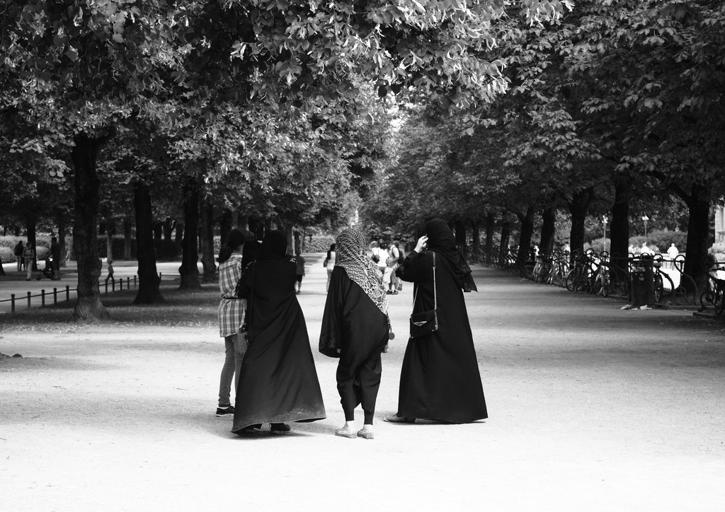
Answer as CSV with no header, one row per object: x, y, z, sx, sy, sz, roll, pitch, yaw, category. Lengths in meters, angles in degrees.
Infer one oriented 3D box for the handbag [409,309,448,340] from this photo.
0.794,0.797,10.211,0.327,0.242,0.106,-11,-15,34,handbag

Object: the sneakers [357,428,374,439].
0.049,1.917,9.431,0.078,0.092,0.216,2,-7,-33,sneakers

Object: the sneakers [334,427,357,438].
-0.162,1.906,9.471,0.193,0.085,0.108,3,-2,26,sneakers

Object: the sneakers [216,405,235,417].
-1.629,1.853,10.444,0.265,0.118,0.103,-3,7,-6,sneakers

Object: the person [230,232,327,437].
-0.898,0.793,9.497,0.926,2.128,0.584,1,1,-3,person
